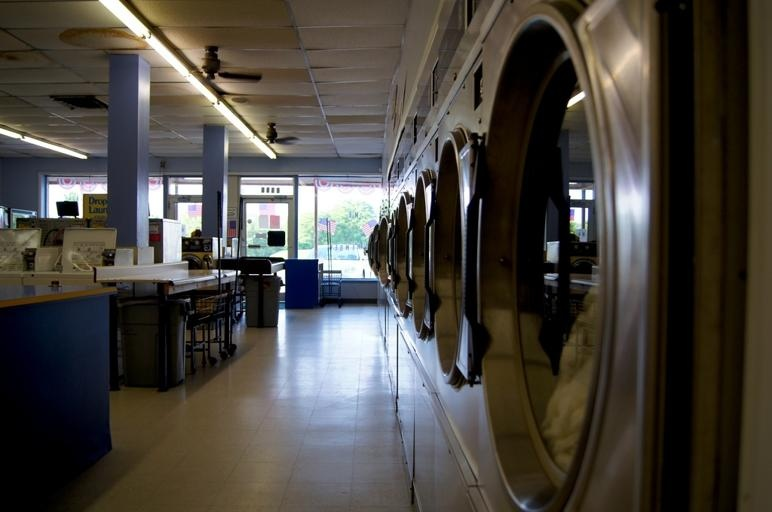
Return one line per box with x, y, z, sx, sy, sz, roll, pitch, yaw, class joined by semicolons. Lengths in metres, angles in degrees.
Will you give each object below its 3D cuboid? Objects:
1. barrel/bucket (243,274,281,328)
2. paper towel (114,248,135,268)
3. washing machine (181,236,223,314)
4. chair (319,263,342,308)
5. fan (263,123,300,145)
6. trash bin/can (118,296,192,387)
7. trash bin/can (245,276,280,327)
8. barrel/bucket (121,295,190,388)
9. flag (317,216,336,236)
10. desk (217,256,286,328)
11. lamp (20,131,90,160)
-1.761;0.632;8.178;0.617;0.754;0.630;-1;-2;0;barrel/bucket
-2.469;0.013;5.437;0.131;0.192;0.188;2;-2;-13;paper towel
-2.662;0.226;8.080;0.499;0.980;0.576;1;2;-22;washing machine
-1.209;0.645;11.276;0.417;0.639;0.555;-18;2;0;chair
-1.482;-1.690;8.018;0.502;0.299;0.413;-1;5;10;fan
-2.007;0.743;5.106;0.596;0.688;0.658;1;-8;-22;trash bin/can
-1.879;0.658;8.390;0.609;0.747;0.625;0;-2;-16;trash bin/can
-2.041;0.760;5.093;0.598;0.688;0.657;-2;-9;0;barrel/bucket
-1.232;-0.609;11.710;0.367;0.356;0.038;3;-4;-24;flag
-2.103;0.357;9.286;0.877;1.050;2.614;1;7;-6;desk
-5.896;-1.892;10.200;0.575;0.204;1.989;0;4;-7;lamp
